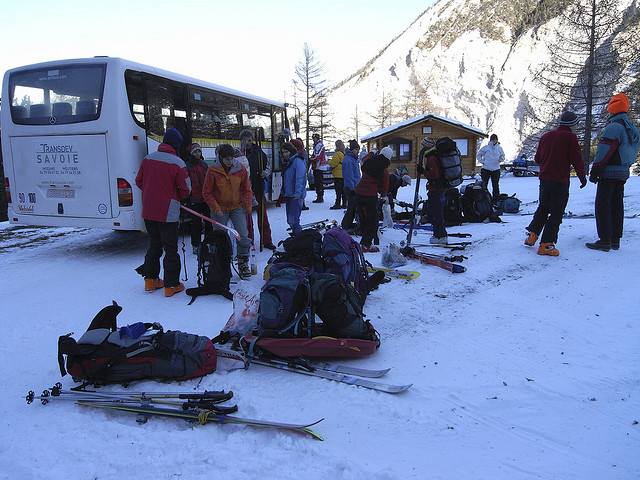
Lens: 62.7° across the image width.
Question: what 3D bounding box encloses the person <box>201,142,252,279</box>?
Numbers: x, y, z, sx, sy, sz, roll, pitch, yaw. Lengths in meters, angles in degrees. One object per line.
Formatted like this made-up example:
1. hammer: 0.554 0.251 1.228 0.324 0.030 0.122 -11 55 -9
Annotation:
1. person: -1.500 -0.477 8.585 0.766 2.111 1.533 -2 8 -10

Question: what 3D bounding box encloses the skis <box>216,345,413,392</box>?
1. skis: -0.127 1.464 5.924 1.357 0.124 0.194 8 31 9

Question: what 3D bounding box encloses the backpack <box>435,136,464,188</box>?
1. backpack: 2.406 -1.414 9.838 0.476 0.895 0.331 -9 0 -23

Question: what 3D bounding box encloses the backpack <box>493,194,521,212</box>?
1. backpack: 4.756 -0.934 13.369 0.605 0.437 0.469 9 12 6

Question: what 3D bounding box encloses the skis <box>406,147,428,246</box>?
1. skis: 1.797 -0.841 9.738 0.273 2.118 0.284 11 8 12

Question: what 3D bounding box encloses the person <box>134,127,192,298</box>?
1. person: -2.317 -0.406 7.761 0.793 2.446 0.528 -2 8 -12

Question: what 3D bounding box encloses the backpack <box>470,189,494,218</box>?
1. backpack: 3.768 -0.806 12.167 0.442 0.881 0.578 3 -2 -22

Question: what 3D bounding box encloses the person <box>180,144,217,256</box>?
1. person: -2.165 -0.653 9.749 0.777 2.366 0.759 -7 25 -13

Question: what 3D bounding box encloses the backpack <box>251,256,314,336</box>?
1. backpack: -0.417 0.700 6.342 0.626 0.945 0.504 -2 -30 21

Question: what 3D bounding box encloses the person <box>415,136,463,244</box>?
1. person: 2.305 -0.957 10.111 0.682 1.984 0.898 -8 10 -25

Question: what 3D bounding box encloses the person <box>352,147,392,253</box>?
1. person: 0.997 -0.743 9.848 0.648 1.943 0.707 0 7 2

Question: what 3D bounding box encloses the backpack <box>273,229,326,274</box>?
1. backpack: -0.210 0.151 7.524 0.633 0.729 0.490 4 4 -8

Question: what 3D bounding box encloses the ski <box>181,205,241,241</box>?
1. ski: -1.836 -0.312 8.949 1.082 0.170 0.120 30 12 6
